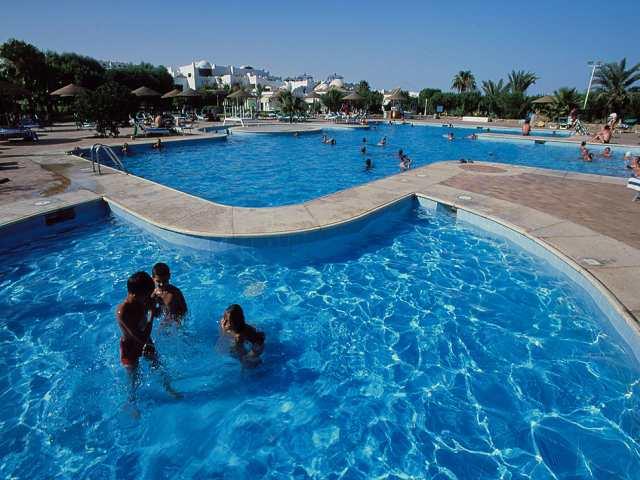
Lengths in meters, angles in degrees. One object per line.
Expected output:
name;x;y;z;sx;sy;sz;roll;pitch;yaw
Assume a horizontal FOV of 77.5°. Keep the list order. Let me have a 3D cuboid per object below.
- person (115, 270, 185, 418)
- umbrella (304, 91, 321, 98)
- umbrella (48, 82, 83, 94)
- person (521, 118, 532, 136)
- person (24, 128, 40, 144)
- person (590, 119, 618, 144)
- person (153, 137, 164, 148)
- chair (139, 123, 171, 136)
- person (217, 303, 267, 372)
person;-2.593;1.368;5.705;0.621;1.991;0.673;-13;24;-29
umbrella;-1.109;-19.491;52.932;1.246;0.577;5.251;-3;21;-8
umbrella;-16.136;-9.641;25.462;1.411;0.682;4.815;-13;25;-30
person;13.576;-7.548;26.279;0.385;1.196;1.739;10;23;25
person;-15.701;-5.756;21.601;0.861;0.509;1.356;-13;30;-38
person;15.715;-5.975;22.181;0.833;0.961;1.831;14;25;32
person;-8.192;-4.912;20.098;0.459;0.475;0.903;-9;23;-22
chair;-10.330;-6.950;25.000;1.509;0.515;1.051;-13;24;-37
person;-1.237;1.570;6.256;0.396;0.540;0.933;-25;-17;5
